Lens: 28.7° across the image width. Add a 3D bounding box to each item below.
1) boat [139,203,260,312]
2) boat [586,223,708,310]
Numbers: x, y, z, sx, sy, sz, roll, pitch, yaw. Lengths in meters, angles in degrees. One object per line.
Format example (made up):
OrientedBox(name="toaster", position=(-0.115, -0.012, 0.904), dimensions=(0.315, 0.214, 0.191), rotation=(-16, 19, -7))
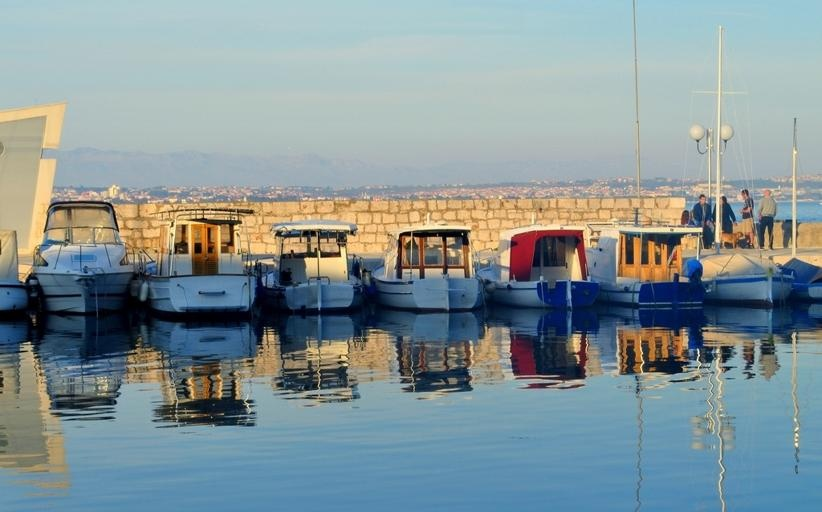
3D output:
OrientedBox(name="boat", position=(-5.882, 0.151, 44.871), dimensions=(3.038, 3.171, 3.052), rotation=(-3, -3, -6))
OrientedBox(name="boat", position=(6.622, 0.310, 46.728), dimensions=(1.805, 2.618, 3.288), rotation=(0, -5, -44))
